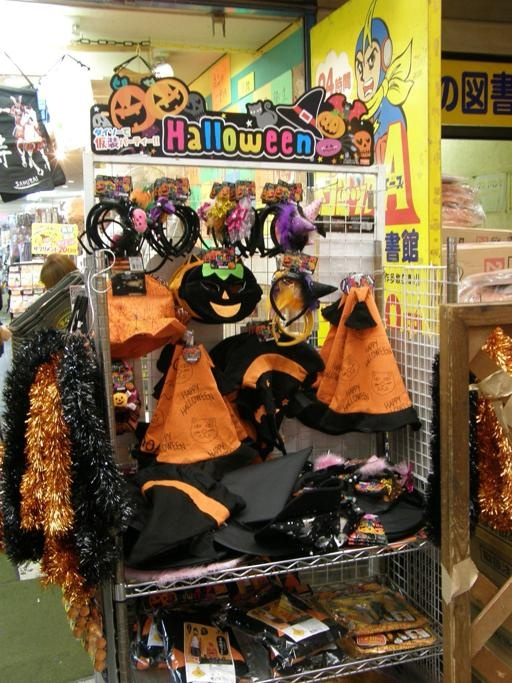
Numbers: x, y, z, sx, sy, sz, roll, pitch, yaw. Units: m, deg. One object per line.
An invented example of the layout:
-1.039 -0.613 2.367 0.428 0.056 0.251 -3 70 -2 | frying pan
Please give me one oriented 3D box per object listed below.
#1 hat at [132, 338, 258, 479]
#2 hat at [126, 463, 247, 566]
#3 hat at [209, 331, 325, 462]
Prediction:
-0.153 0.202 1.637 0.477 0.479 0.298 0 -9 -2 | hat
-0.159 0.418 1.294 0.263 0.196 0.298 7 -2 -11 | hat
0.023 0.158 1.609 0.405 0.447 0.197 -2 0 -16 | hat
